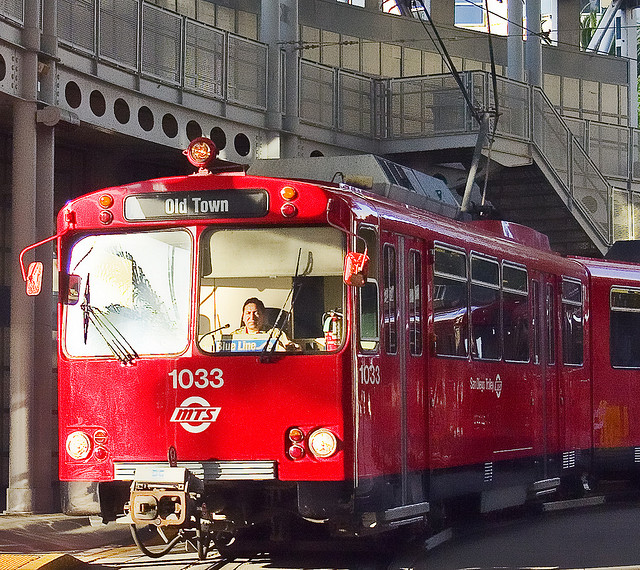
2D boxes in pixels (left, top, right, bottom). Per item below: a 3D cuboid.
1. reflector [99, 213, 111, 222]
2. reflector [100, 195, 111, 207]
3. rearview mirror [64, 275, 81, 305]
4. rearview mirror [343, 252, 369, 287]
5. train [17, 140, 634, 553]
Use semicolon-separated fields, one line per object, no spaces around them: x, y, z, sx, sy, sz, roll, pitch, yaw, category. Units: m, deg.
-2.033;-0.640;11.586;0.105;0.088;0.020;-6;-7;27;reflector
-2.029;-0.799;11.606;0.113;0.110;0.011;-5;-6;21;reflector
-2.328;0.031;11.567;0.169;0.279;0.033;-4;-6;19;rearview mirror
0.301;-0.144;10.757;0.228;0.360;0.114;3;-20;4;rearview mirror
1.195;0.857;15.114;3.257;4.014;10.234;-4;-7;28;train
